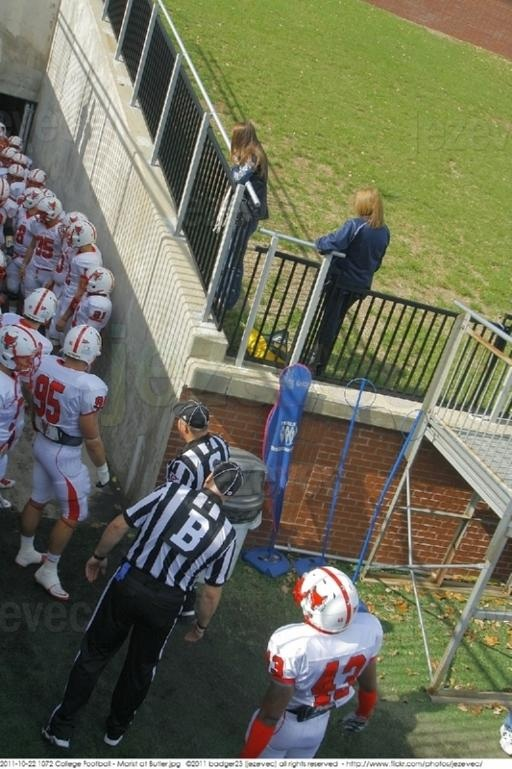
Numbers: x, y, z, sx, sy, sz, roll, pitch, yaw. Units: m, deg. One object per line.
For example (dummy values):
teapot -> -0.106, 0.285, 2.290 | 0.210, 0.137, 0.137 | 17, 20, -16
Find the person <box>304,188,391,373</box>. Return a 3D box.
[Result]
person -> 0.690, -0.836, 6.515 | 0.347, 1.376, 0.790 | 33, 14, 34

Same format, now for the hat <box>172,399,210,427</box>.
hat -> -0.430, 0.187, 4.853 | 0.137, 0.139, 0.208 | -17, 48, -38

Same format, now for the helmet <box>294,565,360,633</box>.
helmet -> 0.308, 0.991, 3.706 | 0.242, 0.267, 0.336 | -10, 34, -15

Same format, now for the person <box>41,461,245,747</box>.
person -> -0.630, 1.214, 4.198 | 0.704, 1.246, 0.431 | 23, 11, -7

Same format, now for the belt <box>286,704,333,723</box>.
belt -> 0.262, 1.637, 3.833 | 0.147, 0.070, 0.107 | 5, 1, -6

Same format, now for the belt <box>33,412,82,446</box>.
belt -> -1.358, 0.335, 5.159 | 0.232, 0.084, 0.228 | 26, -2, -28

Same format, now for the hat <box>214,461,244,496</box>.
hat -> -0.162, 0.501, 4.165 | 0.130, 0.106, 0.188 | 30, 36, -15
